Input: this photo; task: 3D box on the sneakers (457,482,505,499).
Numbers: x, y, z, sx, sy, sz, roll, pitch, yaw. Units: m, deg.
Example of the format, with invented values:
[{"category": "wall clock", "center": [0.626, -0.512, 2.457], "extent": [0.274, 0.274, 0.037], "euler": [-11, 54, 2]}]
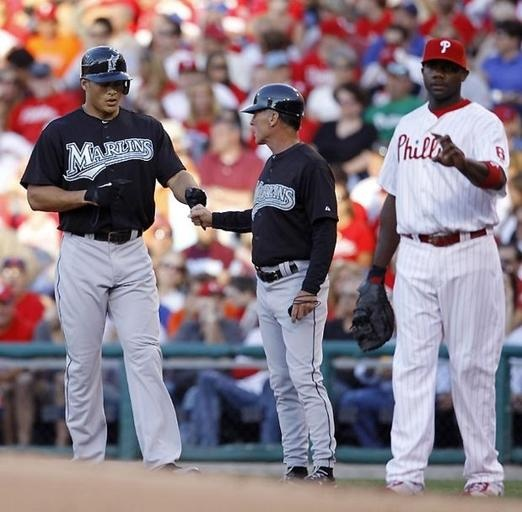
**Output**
[{"category": "sneakers", "center": [1.100, 1.159, 5.909], "extent": [0.193, 0.072, 0.246], "euler": [-3, -3, 10]}]

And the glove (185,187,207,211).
[{"category": "glove", "center": [-0.361, -0.307, 6.405], "extent": [0.114, 0.111, 0.087], "euler": [-14, 28, -42]}]

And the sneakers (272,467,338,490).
[{"category": "sneakers", "center": [0.259, 1.171, 6.300], "extent": [0.111, 0.133, 0.325], "euler": [-7, -16, 29]}]

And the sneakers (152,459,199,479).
[{"category": "sneakers", "center": [-0.419, 1.070, 5.999], "extent": [0.176, 0.044, 0.102], "euler": [7, -7, 4]}]

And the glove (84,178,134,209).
[{"category": "glove", "center": [-0.774, -0.336, 6.119], "extent": [0.137, 0.071, 0.185], "euler": [-11, 17, 46]}]

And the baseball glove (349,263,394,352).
[{"category": "baseball glove", "center": [0.589, 0.277, 6.350], "extent": [0.234, 0.446, 0.159], "euler": [-3, -3, 5]}]

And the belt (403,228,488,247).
[{"category": "belt", "center": [0.932, -0.084, 6.020], "extent": [0.421, 0.081, 0.132], "euler": [-3, -3, 8]}]

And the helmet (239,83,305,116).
[{"category": "helmet", "center": [0.077, -0.851, 6.541], "extent": [0.250, 0.119, 0.195], "euler": [3, 2, 1]}]

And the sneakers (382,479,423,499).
[{"category": "sneakers", "center": [0.702, 1.132, 5.826], "extent": [0.148, 0.053, 0.111], "euler": [2, 0, -7]}]

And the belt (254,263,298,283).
[{"category": "belt", "center": [0.090, 0.087, 6.412], "extent": [0.142, 0.056, 0.131], "euler": [-19, 3, 1]}]
